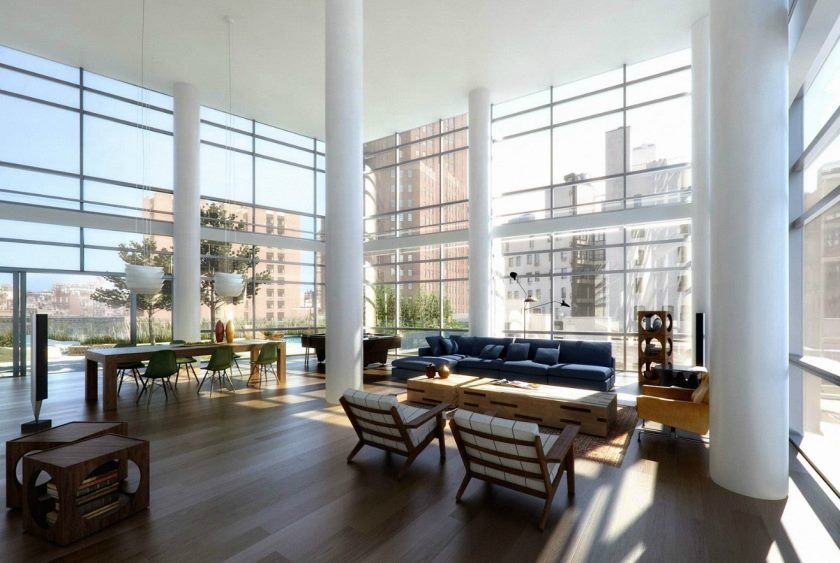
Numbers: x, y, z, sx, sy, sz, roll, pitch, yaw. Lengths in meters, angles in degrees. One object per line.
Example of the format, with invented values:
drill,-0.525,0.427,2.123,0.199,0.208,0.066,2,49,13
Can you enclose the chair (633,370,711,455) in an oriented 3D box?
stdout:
chair,4.056,2.018,8.623,1.140,1.231,1.104,-2,-5,37

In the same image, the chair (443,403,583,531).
chair,1.338,2.185,7.188,1.439,1.240,1.385,-1,-1,31

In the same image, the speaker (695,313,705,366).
speaker,5.872,1.200,11.212,0.223,1.092,0.213,-4,-5,22

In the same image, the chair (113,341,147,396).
chair,-6.103,1.785,11.166,0.639,0.958,0.717,-4,-3,-40

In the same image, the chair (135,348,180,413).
chair,-5.239,1.860,10.645,0.714,0.987,1.751,0,-6,-27

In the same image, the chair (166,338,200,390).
chair,-5.267,1.778,11.769,0.609,0.811,0.500,-3,10,-36
